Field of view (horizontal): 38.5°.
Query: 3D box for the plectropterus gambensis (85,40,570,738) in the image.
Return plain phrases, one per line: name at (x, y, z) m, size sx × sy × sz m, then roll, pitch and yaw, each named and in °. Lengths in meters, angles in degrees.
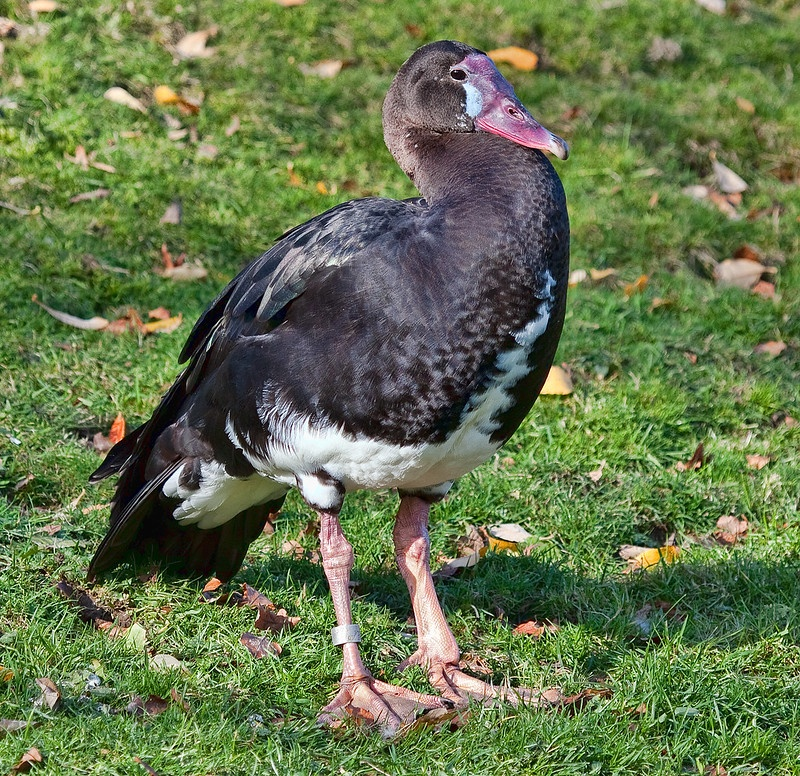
plectropterus gambensis at (-0.078, -0.083, 3.708) m, size 1.479 × 2.093 × 0.786 m, roll 17°, pitch 13°, yaw 35°
